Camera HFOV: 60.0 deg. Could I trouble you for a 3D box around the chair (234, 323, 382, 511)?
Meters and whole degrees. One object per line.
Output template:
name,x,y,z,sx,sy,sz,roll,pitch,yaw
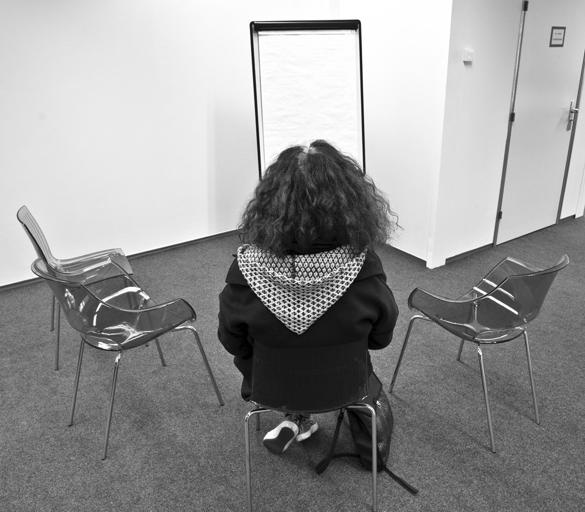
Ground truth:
chair,0.124,0.699,2.235,0.484,0.474,0.573,-3,14,-2

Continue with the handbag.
handbag,0.365,0.779,2.512,0.411,0.629,0.576,0,19,10

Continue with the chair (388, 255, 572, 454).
chair,0.965,0.361,2.566,0.693,0.948,0.602,20,34,37

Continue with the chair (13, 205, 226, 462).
chair,-0.990,0.297,2.772,0.708,1.059,1.153,-18,31,-29
